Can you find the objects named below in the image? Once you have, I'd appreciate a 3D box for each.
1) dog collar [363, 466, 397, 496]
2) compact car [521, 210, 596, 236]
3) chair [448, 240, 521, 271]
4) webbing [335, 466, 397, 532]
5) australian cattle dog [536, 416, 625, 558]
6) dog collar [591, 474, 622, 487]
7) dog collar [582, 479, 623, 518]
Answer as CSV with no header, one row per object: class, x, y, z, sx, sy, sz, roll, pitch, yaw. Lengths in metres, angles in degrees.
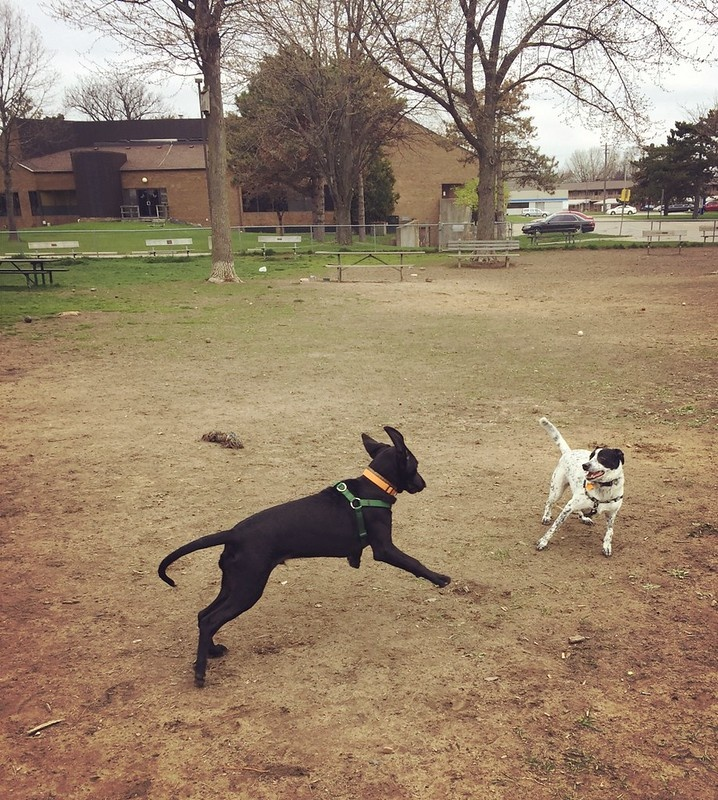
dog collar,0.140,0.521,5.601,0.196,0.050,0.191,32,-3,11
compact car,11.170,-9.813,49.370,2.632,1.203,3.733,11,18,39
chair,4.195,-5.025,30.007,2.120,0.828,4.398,1,14,6
webbing,0.030,0.615,5.635,0.407,0.094,0.279,22,13,-5
australian cattle dog,1.719,0.632,6.899,0.640,1.003,0.942,2,15,11
dog collar,1.799,0.605,6.497,0.203,0.097,0.094,3,16,14
dog collar,1.782,0.728,6.668,0.268,0.117,0.365,1,3,-8
